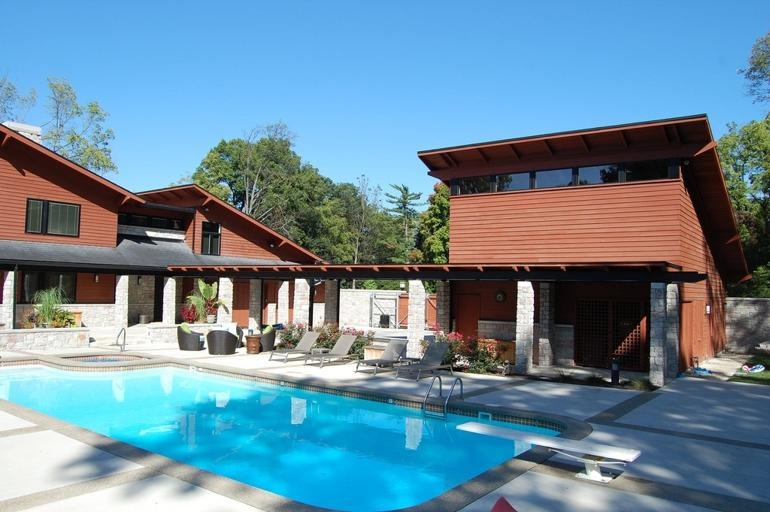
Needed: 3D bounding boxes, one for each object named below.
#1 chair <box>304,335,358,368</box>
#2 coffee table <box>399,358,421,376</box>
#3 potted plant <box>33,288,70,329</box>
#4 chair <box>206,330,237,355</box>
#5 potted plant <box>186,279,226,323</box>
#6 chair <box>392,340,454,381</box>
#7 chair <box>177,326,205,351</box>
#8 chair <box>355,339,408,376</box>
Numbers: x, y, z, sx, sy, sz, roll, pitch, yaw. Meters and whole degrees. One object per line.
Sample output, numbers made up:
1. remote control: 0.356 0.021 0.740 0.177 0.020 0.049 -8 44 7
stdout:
1. chair: -2.237 3.828 21.236 1.858 1.221 2.221 1 -9 -7
2. coffee table: 0.920 3.893 18.310 0.761 0.250 0.959 1 -4 -14
3. potted plant: -16.310 2.562 25.174 2.265 1.792 1.520 0 -4 6
4. chair: -7.203 3.741 22.789 1.221 0.722 1.217 3 -17 -12
5. potted plant: -9.382 2.529 28.570 3.058 2.015 2.715 4 -9 -25
6. chair: 1.430 3.763 18.749 1.855 1.289 3.024 -1 -9 6
7. chair: -9.097 3.793 24.260 1.380 0.965 1.276 1 -3 -11
8. chair: -0.106 3.796 19.664 1.736 0.832 1.054 -9 7 -43
